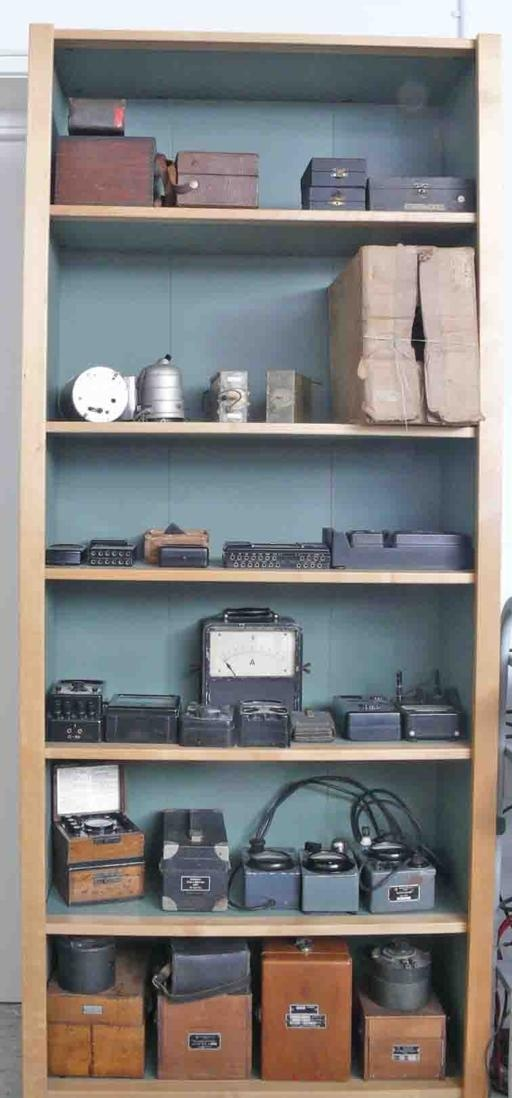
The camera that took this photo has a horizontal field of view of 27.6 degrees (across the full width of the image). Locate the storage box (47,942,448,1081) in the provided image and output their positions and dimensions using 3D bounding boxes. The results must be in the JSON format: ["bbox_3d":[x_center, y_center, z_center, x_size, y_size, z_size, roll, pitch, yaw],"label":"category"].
[{"bbox_3d":[-0.024,1.187,2.695,0.999,0.349,0.204,0,-9,-4],"label":"storage box"}]
